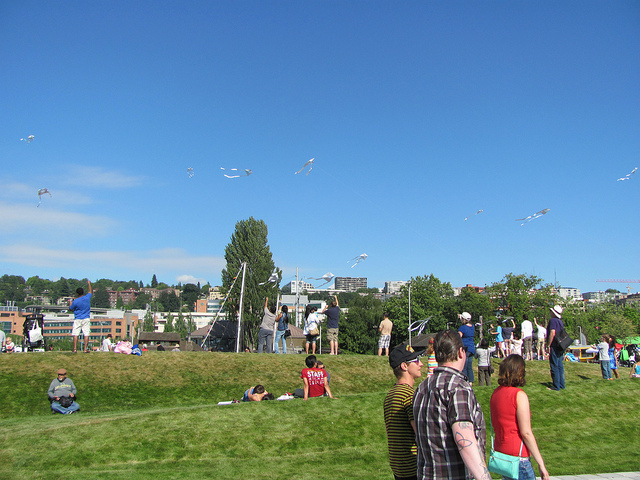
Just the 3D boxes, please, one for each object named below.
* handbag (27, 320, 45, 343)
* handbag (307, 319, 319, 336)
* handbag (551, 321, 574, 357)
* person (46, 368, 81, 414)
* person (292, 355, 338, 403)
[{"bbox_3d":[-13.322,4.366,27.008,0.593,1.037,0.961,4,-12,-31],"label":"handbag"},{"bbox_3d":[-0.229,3.871,25.174,0.516,0.697,0.341,-4,-7,-9],"label":"handbag"},{"bbox_3d":[8.392,3.454,19.929,0.689,1.115,1.029,-2,-11,23],"label":"handbag"},{"bbox_3d":[-8.716,5.173,19.616,0.922,1.618,0.884,-9,-10,38],"label":"person"},{"bbox_3d":[-0.275,4.749,19.542,1.057,1.511,2.544,-1,-13,-12],"label":"person"}]
